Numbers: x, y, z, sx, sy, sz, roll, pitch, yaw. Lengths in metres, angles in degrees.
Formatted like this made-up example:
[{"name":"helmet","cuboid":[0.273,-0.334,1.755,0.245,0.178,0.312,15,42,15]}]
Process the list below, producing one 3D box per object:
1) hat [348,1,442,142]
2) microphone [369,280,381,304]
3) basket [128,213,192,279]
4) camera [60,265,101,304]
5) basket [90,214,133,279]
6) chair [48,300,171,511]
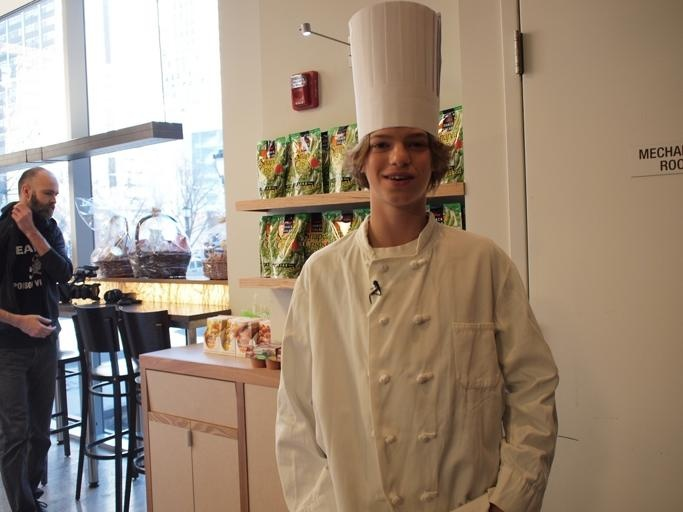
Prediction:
[{"name":"hat","cuboid":[0.177,-0.575,2.133,0.381,0.512,0.395,0,-1,11]},{"name":"microphone","cuboid":[0.109,0.112,1.883,0.038,0.072,0.017,-1,4,4]},{"name":"basket","cuboid":[-1.420,-0.078,4.866,0.497,0.568,0.422,-1,-1,14]},{"name":"camera","cuboid":[-2.081,0.223,4.895,0.265,0.266,0.210,-3,9,-13]},{"name":"basket","cuboid":[-1.914,-0.044,5.204,0.448,0.690,0.478,2,2,-21]},{"name":"chair","cuboid":[-1.493,0.975,4.163,0.620,1.355,1.504,-3,4,-24]}]
